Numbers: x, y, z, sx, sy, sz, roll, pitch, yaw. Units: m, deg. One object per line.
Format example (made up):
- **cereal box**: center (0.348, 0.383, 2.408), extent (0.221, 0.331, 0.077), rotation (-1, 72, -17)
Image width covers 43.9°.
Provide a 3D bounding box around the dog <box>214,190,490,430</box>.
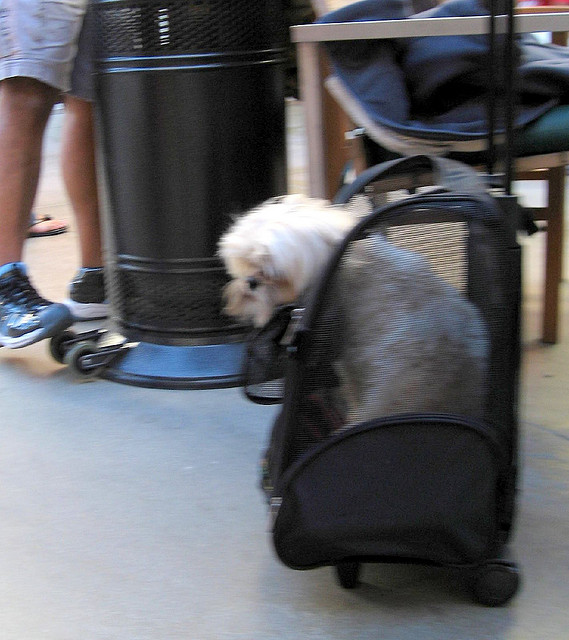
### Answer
- **dog**: center (0.115, -0.036, 0.899), extent (0.411, 0.281, 0.229), rotation (-6, 15, -4)
